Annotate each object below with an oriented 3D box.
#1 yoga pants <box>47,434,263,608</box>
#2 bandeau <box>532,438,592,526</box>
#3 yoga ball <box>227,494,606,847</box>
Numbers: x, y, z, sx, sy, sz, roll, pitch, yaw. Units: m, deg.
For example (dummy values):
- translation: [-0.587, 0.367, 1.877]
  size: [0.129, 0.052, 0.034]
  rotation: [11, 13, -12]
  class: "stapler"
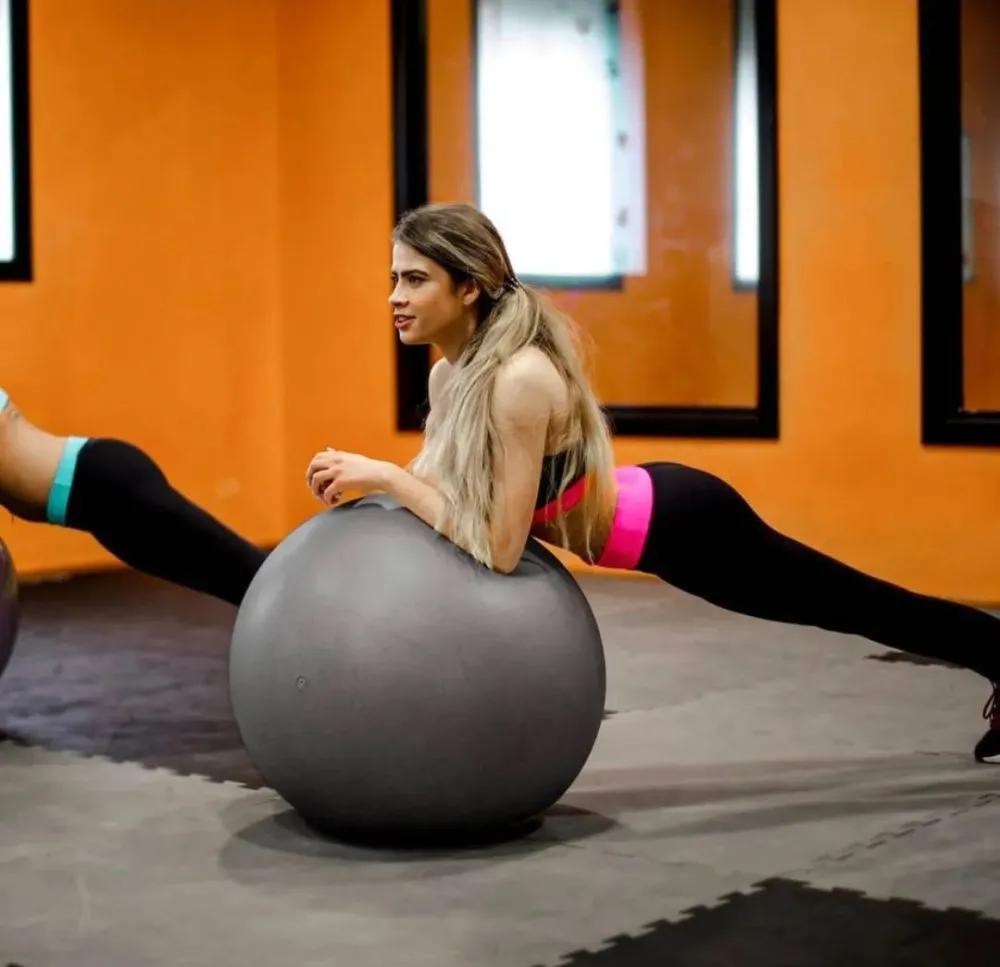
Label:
- translation: [-0.749, 0.065, 2.343]
  size: [0.168, 0.203, 0.592]
  rotation: [26, -11, 29]
  class: "yoga pants"
- translation: [0.112, -0.003, 1.921]
  size: [0.081, 0.120, 0.041]
  rotation: [20, 11, -13]
  class: "bandeau"
- translation: [-0.199, 0.382, 1.806]
  size: [0.568, 0.620, 0.567]
  rotation: [-6, -19, -2]
  class: "yoga ball"
